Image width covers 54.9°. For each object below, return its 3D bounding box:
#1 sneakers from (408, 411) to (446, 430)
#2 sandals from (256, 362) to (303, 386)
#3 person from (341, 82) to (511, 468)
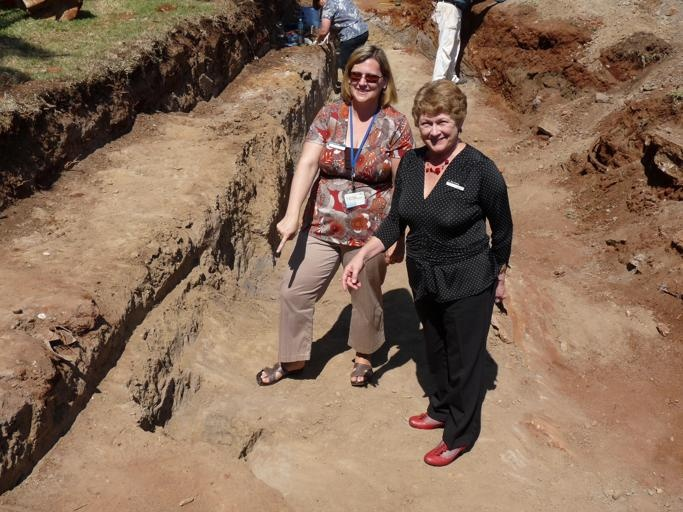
[{"bbox_3d":[0.722,1.345,5.434,0.257,0.111,0.133,7,14,3],"label":"sneakers"},{"bbox_3d":[-0.542,1.023,5.893,0.422,0.127,0.186,-11,32,-20],"label":"sandals"},{"bbox_3d":[0.785,0.186,5.025,0.834,2.578,1.347,-21,43,-32],"label":"person"}]
